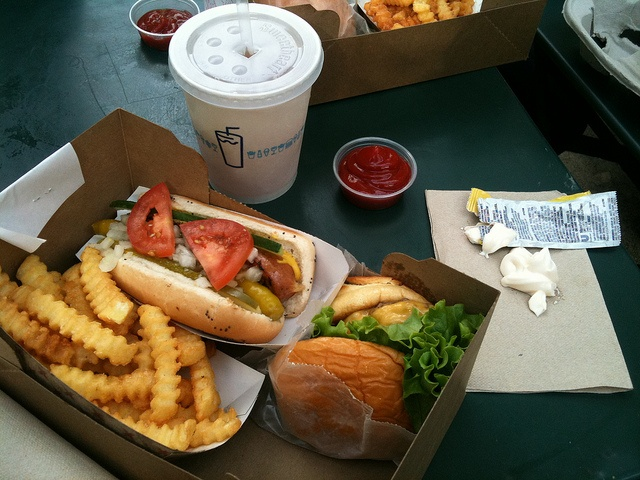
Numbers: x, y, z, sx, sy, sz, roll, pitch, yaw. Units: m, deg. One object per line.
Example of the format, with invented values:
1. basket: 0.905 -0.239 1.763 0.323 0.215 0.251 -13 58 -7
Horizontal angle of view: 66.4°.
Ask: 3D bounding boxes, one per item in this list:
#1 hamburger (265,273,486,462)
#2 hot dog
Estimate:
1. hamburger: 0.201 0.424 1.870 0.651 0.345 0.804 0 30 21
2. hot dog: -0.483 0.183 2.134 0.933 0.277 0.498 28 73 10
